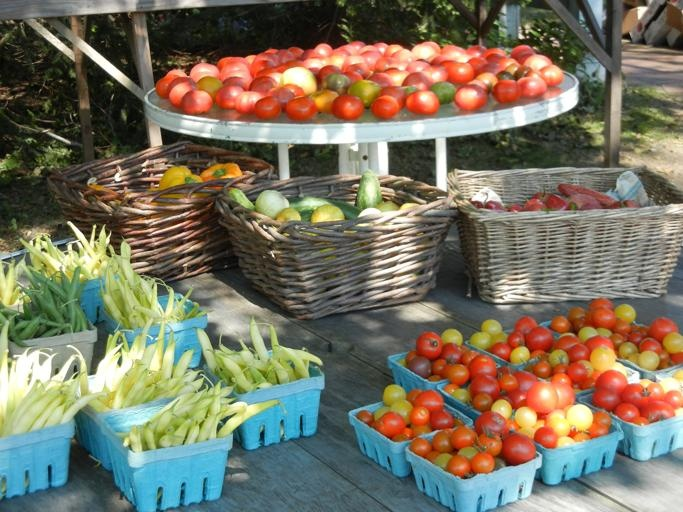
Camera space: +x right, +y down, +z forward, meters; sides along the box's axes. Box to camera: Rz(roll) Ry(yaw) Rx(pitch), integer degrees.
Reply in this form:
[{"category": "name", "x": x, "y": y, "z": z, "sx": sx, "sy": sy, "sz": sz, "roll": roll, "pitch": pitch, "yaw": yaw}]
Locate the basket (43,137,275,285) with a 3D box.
[{"category": "basket", "x": -1.114, "y": -0.369, "z": 3.689, "sx": 1.485, "sy": 0.910, "sz": 1.241, "roll": -18, "pitch": 25, "yaw": -34}]
